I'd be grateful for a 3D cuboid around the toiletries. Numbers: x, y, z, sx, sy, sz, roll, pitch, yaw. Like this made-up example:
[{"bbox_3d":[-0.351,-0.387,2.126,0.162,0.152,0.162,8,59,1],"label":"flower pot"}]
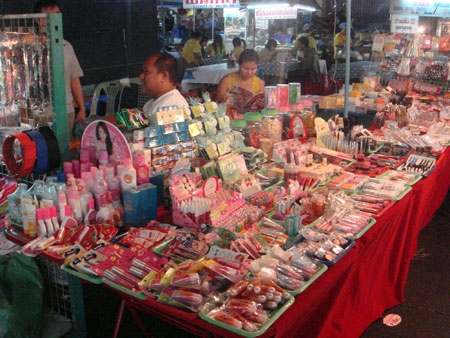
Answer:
[{"bbox_3d":[-0.905,0.160,2.081,0.707,0.406,0.370,-7,19,-17],"label":"toiletries"}]
